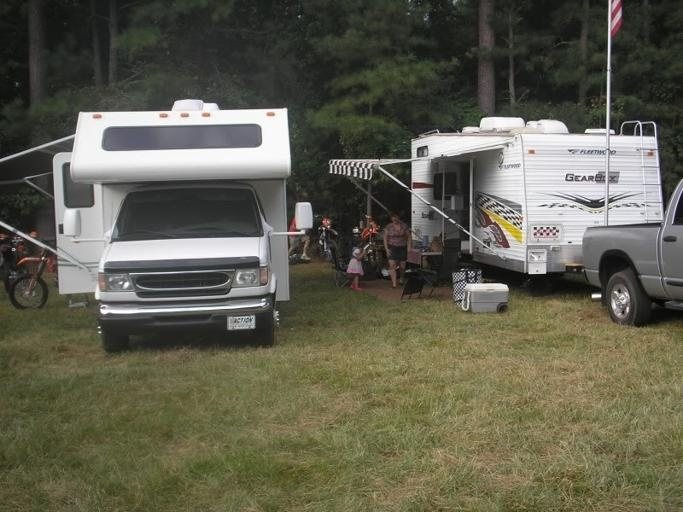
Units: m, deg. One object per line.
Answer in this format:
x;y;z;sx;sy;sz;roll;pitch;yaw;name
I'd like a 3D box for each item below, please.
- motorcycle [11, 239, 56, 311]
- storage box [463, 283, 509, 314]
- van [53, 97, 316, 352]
-6.060;0.423;14.726;0.863;1.191;1.911;-7;15;-22;motorcycle
2.493;0.727;12.929;0.614;0.411;0.483;-1;2;3;storage box
-2.224;-0.454;11.104;3.564;3.324;2.546;-2;14;-2;van
